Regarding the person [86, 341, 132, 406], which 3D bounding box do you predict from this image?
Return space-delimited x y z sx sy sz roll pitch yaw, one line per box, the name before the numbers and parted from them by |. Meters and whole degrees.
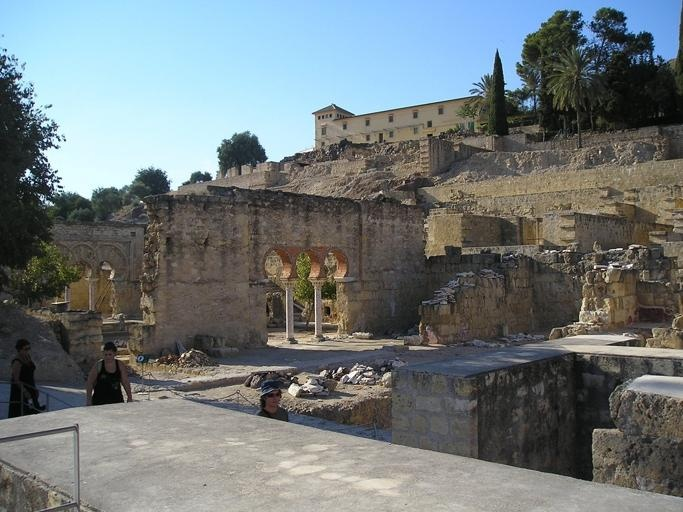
person | -3.117 1.584 11.788 0.571 0.795 0.425 -4 8 -32
